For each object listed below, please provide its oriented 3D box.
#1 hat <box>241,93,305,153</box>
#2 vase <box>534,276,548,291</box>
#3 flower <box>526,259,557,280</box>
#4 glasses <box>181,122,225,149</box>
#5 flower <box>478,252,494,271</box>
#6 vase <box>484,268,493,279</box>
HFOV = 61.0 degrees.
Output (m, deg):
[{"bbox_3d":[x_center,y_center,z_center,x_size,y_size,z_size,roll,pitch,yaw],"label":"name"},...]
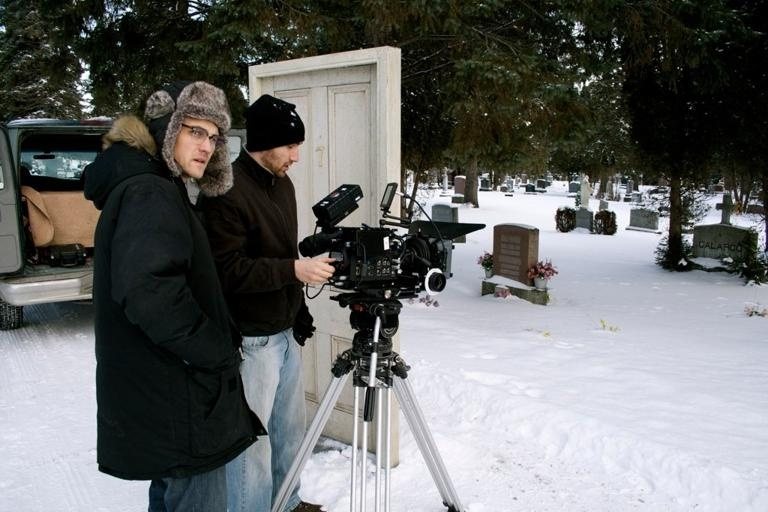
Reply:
[{"bbox_3d":[-0.925,-1.157,5.638,0.528,0.496,0.401,3,10,0],"label":"hat"},{"bbox_3d":[2.941,0.500,12.229,0.239,0.226,0.259,2,10,9],"label":"vase"},{"bbox_3d":[2.997,0.353,12.402,0.500,0.356,0.510,-1,10,27],"label":"flower"},{"bbox_3d":[-1.427,-0.939,5.016,0.194,0.065,0.169,22,12,38],"label":"glasses"},{"bbox_3d":[2.142,0.124,13.682,0.325,0.365,0.333,-7,-3,22],"label":"flower"},{"bbox_3d":[2.149,0.376,13.416,0.151,0.170,0.154,0,9,2],"label":"vase"}]
